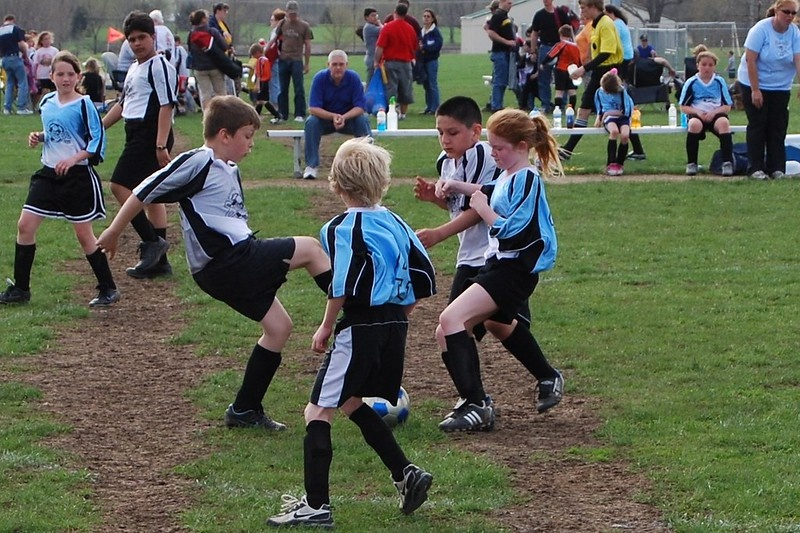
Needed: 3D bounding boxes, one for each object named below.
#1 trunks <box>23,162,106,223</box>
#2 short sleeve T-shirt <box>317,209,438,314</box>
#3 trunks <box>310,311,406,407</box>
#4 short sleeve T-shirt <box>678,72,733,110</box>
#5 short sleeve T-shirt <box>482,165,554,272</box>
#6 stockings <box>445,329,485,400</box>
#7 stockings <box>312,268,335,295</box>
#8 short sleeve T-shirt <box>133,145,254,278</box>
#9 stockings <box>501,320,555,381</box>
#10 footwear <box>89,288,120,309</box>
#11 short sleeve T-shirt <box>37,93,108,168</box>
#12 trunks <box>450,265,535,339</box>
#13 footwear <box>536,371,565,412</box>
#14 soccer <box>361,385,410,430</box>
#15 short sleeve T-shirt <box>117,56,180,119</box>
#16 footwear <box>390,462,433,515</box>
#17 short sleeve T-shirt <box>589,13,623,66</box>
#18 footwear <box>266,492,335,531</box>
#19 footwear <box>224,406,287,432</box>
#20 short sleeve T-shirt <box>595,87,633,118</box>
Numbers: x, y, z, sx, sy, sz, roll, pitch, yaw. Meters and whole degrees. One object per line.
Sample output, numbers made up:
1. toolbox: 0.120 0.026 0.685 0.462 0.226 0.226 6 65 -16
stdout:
1. trunks: -3.686 -0.863 14.077 0.939 0.630 0.484 2 3 -6
2. short sleeve T-shirt: -0.222 -0.022 11.480 1.120 0.857 0.562 -11 6 -18
3. trunks: -0.343 0.810 11.208 0.837 0.874 0.551 12 -1 -35
4. short sleeve T-shirt: 4.412 -2.540 18.448 0.844 0.568 0.344 0 17 0
5. short sleeve T-shirt: 1.314 -0.510 12.562 0.922 1.250 1.013 3 6 7
6. stockings: 0.609 0.928 12.048 0.387 0.700 0.220 1 7 2
7. stockings: -0.736 0.142 12.111 0.199 0.197 0.247 -9 17 40
8. short sleeve T-shirt: -1.877 -0.555 12.232 0.850 1.198 1.679 -11 -9 17
9. stockings: 1.247 0.846 12.659 0.212 0.630 0.273 -42 5 27
10. footwear: -3.273 0.340 14.120 0.361 0.140 0.160 -8 10 -35
11. short sleeve T-shirt: -3.670 -1.519 14.095 1.013 0.823 0.470 10 16 25
12. trunks: 0.870 0.323 12.051 0.678 0.349 0.610 10 36 15
13. footwear: 1.449 1.194 12.363 0.254 0.396 0.325 2 7 5
14. soccer: -0.189 1.320 12.255 0.460 0.497 0.460 -8 -4 22
15. short sleeve T-shirt: -2.966 -2.108 14.856 1.038 0.756 0.590 14 16 42
16. footwear: 0.112 1.894 11.068 0.261 0.522 0.222 39 42 20
17. short sleeve T-shirt: 3.151 -3.487 19.571 0.498 0.779 0.859 -3 10 -2
18. footwear: -0.856 2.123 11.099 0.719 0.284 0.224 3 -7 3
19. footwear: -1.401 1.444 12.170 0.643 0.220 0.214 3 3 -6
20. short sleeve T-shirt: 3.152 -2.453 18.878 0.564 0.474 0.313 3 -1 41
